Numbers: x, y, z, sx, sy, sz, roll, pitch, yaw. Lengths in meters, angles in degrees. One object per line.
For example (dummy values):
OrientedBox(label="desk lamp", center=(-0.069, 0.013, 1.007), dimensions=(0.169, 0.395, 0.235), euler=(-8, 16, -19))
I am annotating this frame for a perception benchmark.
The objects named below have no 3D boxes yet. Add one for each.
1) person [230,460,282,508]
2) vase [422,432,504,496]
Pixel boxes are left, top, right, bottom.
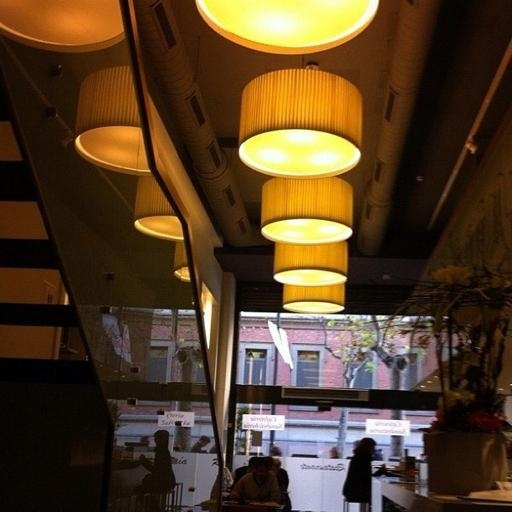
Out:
OrientedBox(label="person", center=(-0.001, 2.930, 7.165), dimensions=(0.609, 0.928, 0.534), euler=(1, -45, 2))
OrientedBox(label="vase", center=(0.831, 0.831, 2.239), dimensions=(0.229, 0.206, 0.271), euler=(-3, -23, 15))
